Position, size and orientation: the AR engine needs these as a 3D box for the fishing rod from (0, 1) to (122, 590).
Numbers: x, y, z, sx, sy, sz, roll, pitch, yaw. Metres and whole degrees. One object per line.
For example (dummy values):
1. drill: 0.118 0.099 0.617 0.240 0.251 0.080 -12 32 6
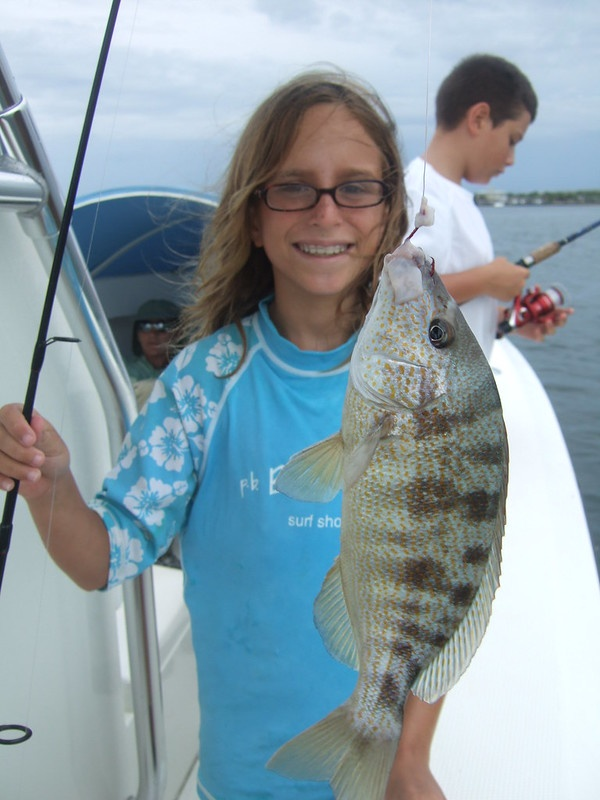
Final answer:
1. fishing rod: -0.292 -0.101 0.908 0.049 0.796 0.028 9 9 -36

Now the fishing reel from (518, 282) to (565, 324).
1. fishing reel: 0.520 -0.201 1.609 0.101 0.043 0.074 -27 51 -28

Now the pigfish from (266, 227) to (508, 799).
1. pigfish: 0.134 0.130 1.033 0.356 0.227 0.717 2 90 6
